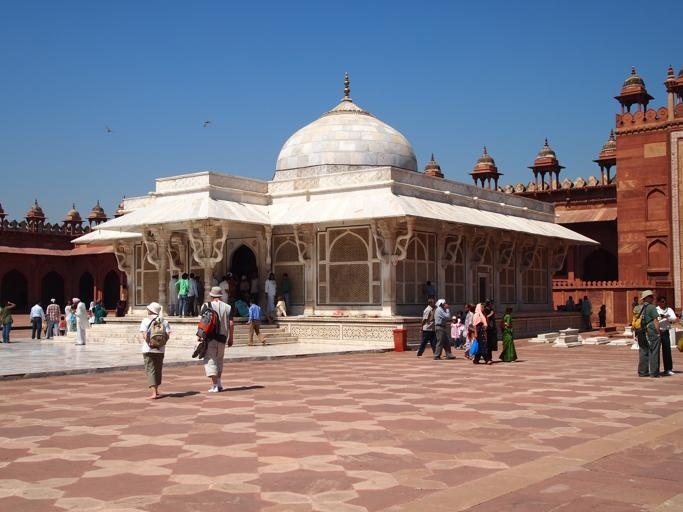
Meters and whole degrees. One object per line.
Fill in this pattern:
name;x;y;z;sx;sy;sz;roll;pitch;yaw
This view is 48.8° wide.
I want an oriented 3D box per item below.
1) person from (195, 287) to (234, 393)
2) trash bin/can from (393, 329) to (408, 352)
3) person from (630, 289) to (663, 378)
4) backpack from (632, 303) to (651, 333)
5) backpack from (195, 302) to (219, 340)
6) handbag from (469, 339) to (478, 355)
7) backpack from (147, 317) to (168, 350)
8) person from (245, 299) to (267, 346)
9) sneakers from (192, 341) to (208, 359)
person;-2.074;1.302;11.992;0.609;1.640;0.738;-1;-3;22
trash bin/can;1.545;2.173;19.707;0.328;0.610;0.755;-2;-5;7
person;5.455;1.367;13.406;0.436;1.504;0.632;-3;-6;21
backpack;5.366;1.103;13.408;0.310;0.555;0.429;10;-13;2
backpack;-2.076;1.013;11.805;0.319;0.595;0.315;0;-5;-10
handbag;2.815;1.912;15.912;0.150;0.367;0.474;-2;-5;8
backpack;-2.759;1.157;11.255;0.342;0.465;0.275;8;-30;-30
person;-2.255;1.747;20.124;0.467;1.242;1.679;-1;-5;-6
sneakers;-2.177;1.471;11.611;0.196;0.270;0.099;28;5;-22
